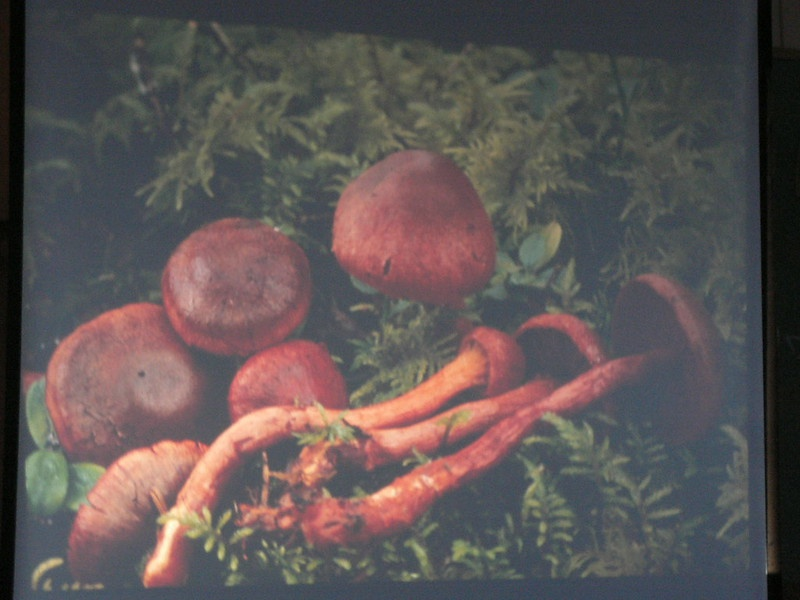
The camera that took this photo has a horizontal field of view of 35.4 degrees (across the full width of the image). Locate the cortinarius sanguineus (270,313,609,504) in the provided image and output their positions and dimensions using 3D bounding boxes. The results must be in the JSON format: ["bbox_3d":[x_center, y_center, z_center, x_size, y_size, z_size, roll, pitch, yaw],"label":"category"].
[{"bbox_3d":[0.078,0.183,2.467,0.593,0.251,0.318,-18,8,-26],"label":"cortinarius sanguineus"}]
